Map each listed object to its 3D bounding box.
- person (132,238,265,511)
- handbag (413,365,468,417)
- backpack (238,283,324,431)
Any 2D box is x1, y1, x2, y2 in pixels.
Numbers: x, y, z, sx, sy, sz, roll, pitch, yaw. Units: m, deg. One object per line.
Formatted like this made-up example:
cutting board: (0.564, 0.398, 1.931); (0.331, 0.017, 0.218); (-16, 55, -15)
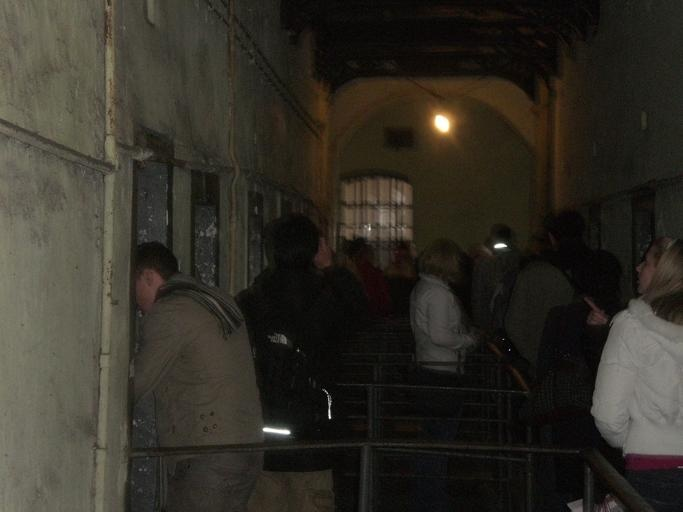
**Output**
person: (-0.797, 0.657, 5.593); (0.710, 1.509, 0.448); (0, -4, -6)
handbag: (0.677, 0.959, 7.193); (0.376, 0.360, 1.031); (-1, -5, 6)
backpack: (-0.371, 0.642, 5.954); (0.515, 0.803, 0.227); (-4, 0, 2)
